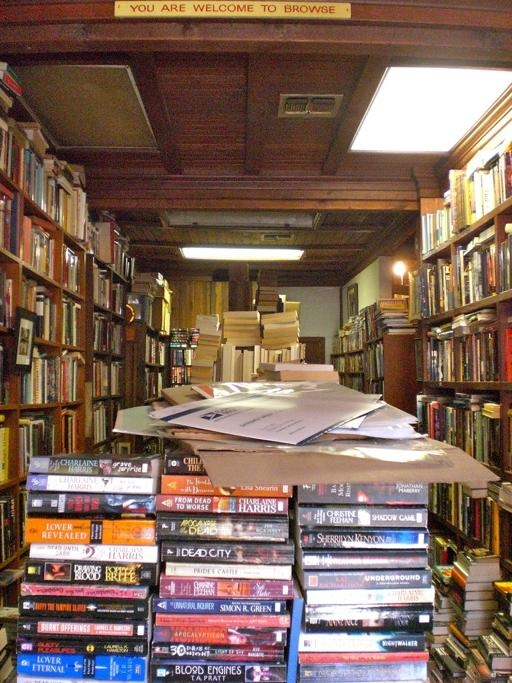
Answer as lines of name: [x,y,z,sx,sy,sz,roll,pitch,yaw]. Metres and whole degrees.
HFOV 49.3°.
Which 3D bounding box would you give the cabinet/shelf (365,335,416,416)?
cabinet/shelf: [1.004,0.214,4.067,0.208,0.593,0.630,0,-1,1]
